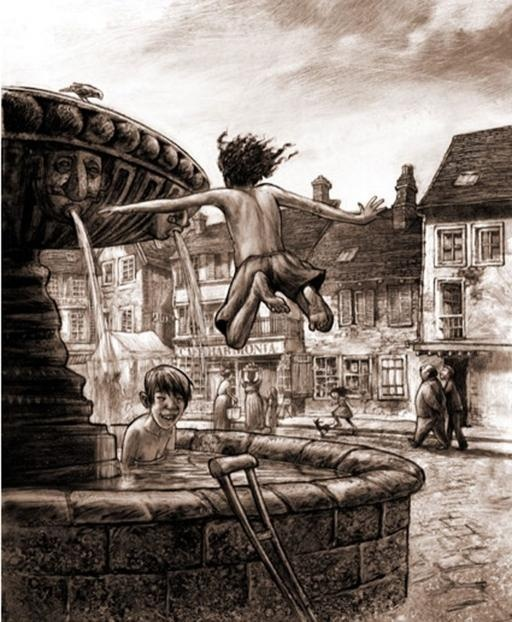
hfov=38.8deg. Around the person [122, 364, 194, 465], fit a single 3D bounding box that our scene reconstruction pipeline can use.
[{"bbox_3d":[-0.753,0.786,5.414,0.528,0.750,0.337,-1,0,-11],"label":"person"}]
